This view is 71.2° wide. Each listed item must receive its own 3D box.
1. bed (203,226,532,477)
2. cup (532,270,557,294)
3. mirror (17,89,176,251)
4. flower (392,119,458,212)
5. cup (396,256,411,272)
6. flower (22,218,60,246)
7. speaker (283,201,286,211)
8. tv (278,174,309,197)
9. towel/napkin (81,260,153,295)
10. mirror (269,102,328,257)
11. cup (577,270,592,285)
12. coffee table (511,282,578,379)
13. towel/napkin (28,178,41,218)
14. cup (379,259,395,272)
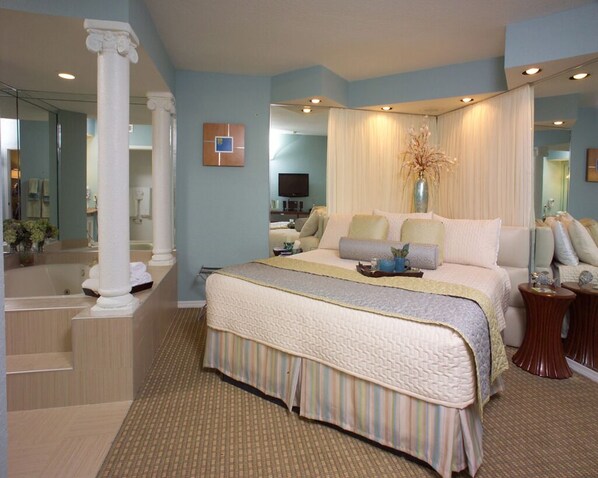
[{"bbox_3d":[0.775,0.641,3.053,1.437,0.819,1.477,2,4,38],"label":"bed"},{"bbox_3d":[2.058,0.370,3.517,0.147,0.155,0.141,-2,3,0],"label":"cup"},{"bbox_3d":[-2.462,-0.832,4.993,0.982,1.358,1.182,-16,18,-21],"label":"mirror"},{"bbox_3d":[1.697,-0.973,5.652,0.852,1.411,1.015,4,7,24],"label":"flower"},{"bbox_3d":[0.817,0.209,3.283,0.123,0.141,0.081,-3,6,0],"label":"cup"},{"bbox_3d":[-2.756,-0.078,4.466,0.306,0.228,0.299,-1,1,-36],"label":"flower"},{"bbox_3d":[-0.181,-0.408,5.132,0.030,0.123,0.033,1,6,-2],"label":"speaker"},{"bbox_3d":[-0.089,-0.668,5.185,0.278,0.222,0.037,-1,2,-12],"label":"tv"},{"bbox_3d":[-1.499,0.346,3.500,0.344,0.139,0.355,-2,5,-42],"label":"towel/napkin"},{"bbox_3d":[-0.065,-1.018,5.238,0.683,0.089,1.655,0,-35,-5],"label":"mirror"},{"bbox_3d":[2.360,0.325,3.453,0.056,0.081,0.068,33,17,3],"label":"cup"},{"bbox_3d":[2.027,0.744,3.454,0.412,0.670,0.398,8,14,44],"label":"coffee table"},{"bbox_3d":[-2.909,-0.440,4.595,0.143,0.437,0.085,2,2,-12],"label":"towel/napkin"},{"bbox_3d":[0.682,0.212,3.254,0.101,0.106,0.106,1,-1,0],"label":"cup"}]
